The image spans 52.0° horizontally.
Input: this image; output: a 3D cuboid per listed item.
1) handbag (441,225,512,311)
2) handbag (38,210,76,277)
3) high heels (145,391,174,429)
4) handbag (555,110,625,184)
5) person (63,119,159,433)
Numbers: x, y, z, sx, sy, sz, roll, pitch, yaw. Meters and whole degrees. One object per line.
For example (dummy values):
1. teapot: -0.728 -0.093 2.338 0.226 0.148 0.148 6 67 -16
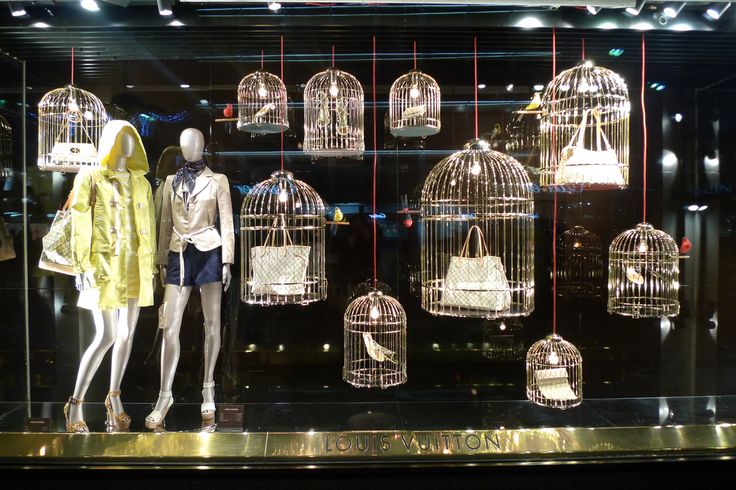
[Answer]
1. handbag: 0.919 0.202 6.271 0.745 0.788 0.300 0 -8 16
2. handbag: -2.463 -0.027 6.119 0.359 0.526 0.126 -1 -4 14
3. high heels: -1.741 1.406 6.387 0.124 0.172 0.373 5 12 3
4. handbag: 1.842 -0.822 6.333 0.672 0.763 0.282 2 -13 -4
5. person: -2.115 0.256 6.333 0.681 2.541 0.561 1 -4 -20
